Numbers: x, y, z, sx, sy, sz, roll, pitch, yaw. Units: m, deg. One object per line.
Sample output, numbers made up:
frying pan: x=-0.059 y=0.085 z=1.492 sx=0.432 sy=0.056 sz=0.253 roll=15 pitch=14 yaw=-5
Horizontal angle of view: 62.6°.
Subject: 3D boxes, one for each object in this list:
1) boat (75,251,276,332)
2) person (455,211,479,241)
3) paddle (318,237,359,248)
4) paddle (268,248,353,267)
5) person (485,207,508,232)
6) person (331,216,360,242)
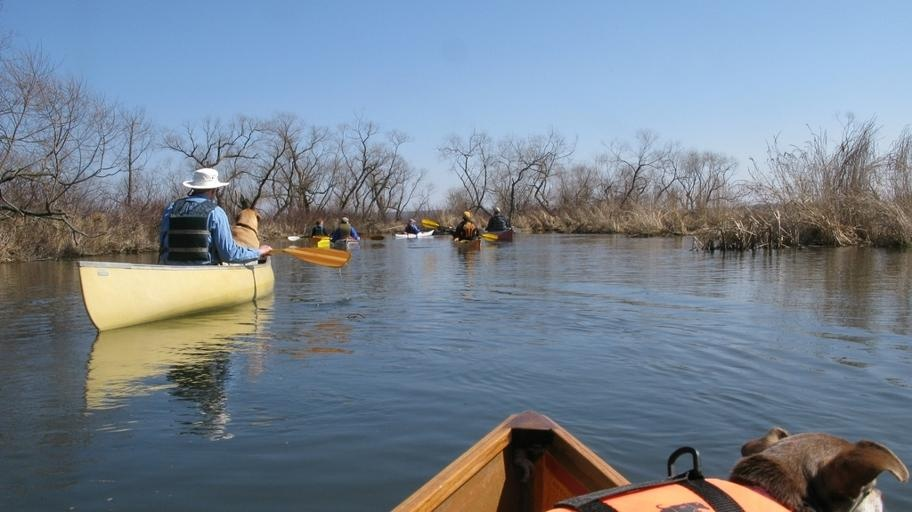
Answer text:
boat: x=-5.497 y=0.743 z=14.758 sx=1.356 sy=1.034 sz=4.039 roll=-1 pitch=-2 yaw=33
person: x=0.569 y=-1.307 z=32.582 sx=0.825 sy=1.250 sz=1.516 roll=-3 pitch=2 yaw=-16
paddle: x=-4.743 y=-0.494 z=29.506 sx=0.604 sy=0.368 sz=2.353 roll=-1 pitch=5 yaw=-26
paddle: x=-3.072 y=-0.002 z=16.905 sx=1.434 sy=0.409 sz=0.534 roll=-1 pitch=2 yaw=23
person: x=2.036 y=-1.682 z=36.372 sx=0.998 sy=1.245 sz=1.504 roll=1 pitch=3 yaw=6
person: x=-4.441 y=-1.057 z=29.750 sx=0.972 sy=0.781 sz=2.106 roll=1 pitch=9 yaw=-6
